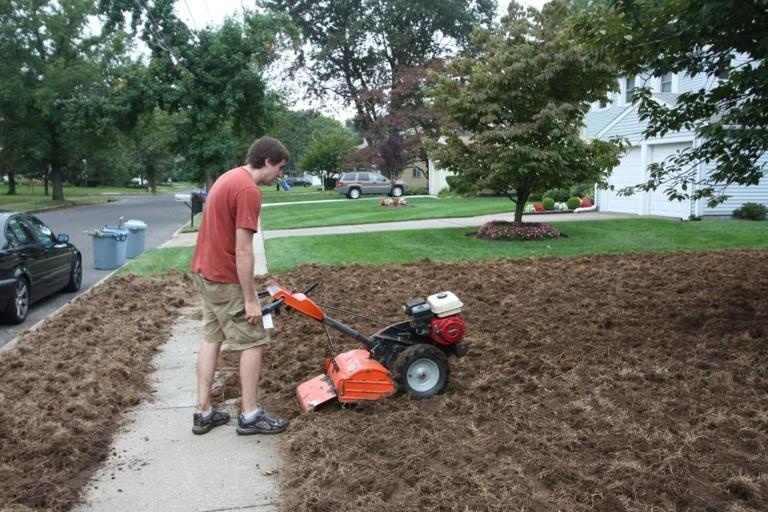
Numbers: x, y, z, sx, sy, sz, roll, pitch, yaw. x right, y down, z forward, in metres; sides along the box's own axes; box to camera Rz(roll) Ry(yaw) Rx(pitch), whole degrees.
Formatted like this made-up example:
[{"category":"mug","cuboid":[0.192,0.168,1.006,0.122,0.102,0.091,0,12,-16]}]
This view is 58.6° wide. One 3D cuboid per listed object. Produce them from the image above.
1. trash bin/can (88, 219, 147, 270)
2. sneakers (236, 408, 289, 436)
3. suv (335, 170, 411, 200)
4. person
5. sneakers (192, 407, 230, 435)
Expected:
[{"category":"trash bin/can","cuboid":[-6.091,-0.265,15.696,0.668,0.951,1.616,0,9,2]},{"category":"sneakers","cuboid":[-1.349,1.853,7.646,0.589,0.277,0.235,0,1,-7]},{"category":"suv","cuboid":[-0.711,-4.134,39.488,3.896,1.482,1.763,-8,14,-21]},{"category":"person","cuboid":[-1.620,0.324,7.567,1.066,3.267,0.735,-1,10,-7]},{"category":"sneakers","cuboid":[-1.928,1.858,7.726,0.178,0.231,0.479,3,6,34]}]
